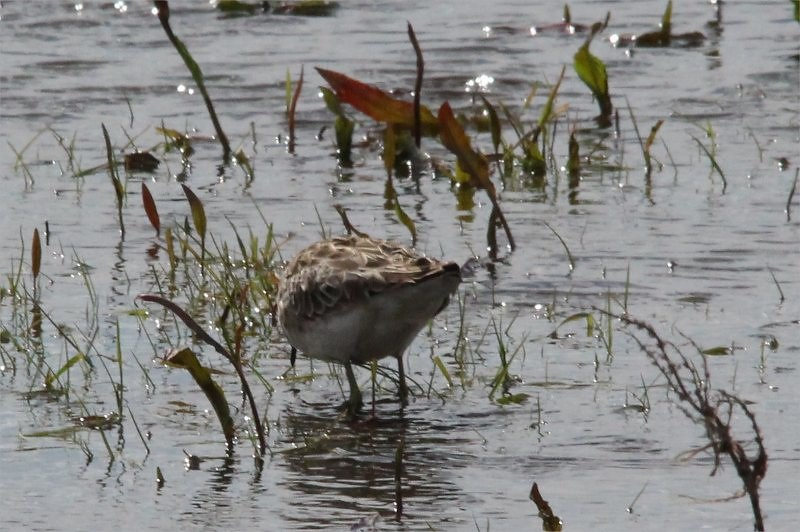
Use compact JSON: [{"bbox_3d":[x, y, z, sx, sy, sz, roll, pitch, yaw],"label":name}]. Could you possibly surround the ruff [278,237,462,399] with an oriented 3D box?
[{"bbox_3d":[-0.341,0.218,6.457,0.624,0.792,1.288,-7,-24,-35],"label":"ruff"}]
